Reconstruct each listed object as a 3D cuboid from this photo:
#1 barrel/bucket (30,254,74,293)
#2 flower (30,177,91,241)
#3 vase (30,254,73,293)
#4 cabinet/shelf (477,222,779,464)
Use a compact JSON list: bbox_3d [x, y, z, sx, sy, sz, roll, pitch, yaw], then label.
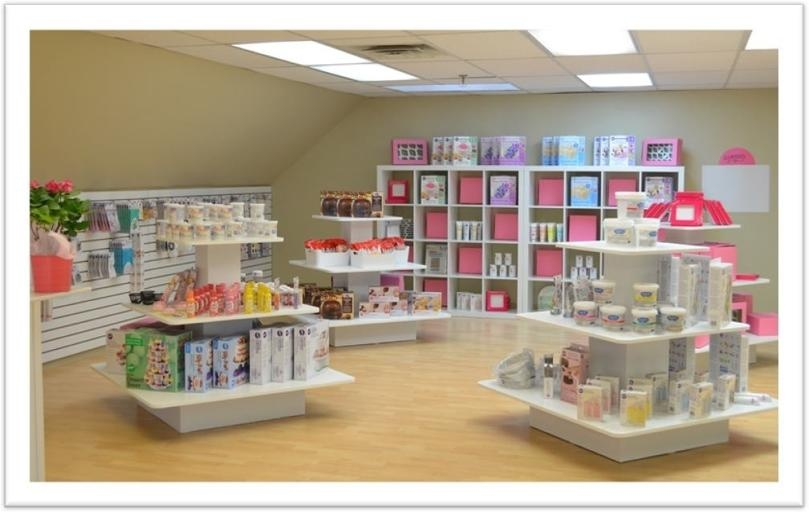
[{"bbox_3d":[-2.782,0.161,4.513,0.361,0.239,0.316,-5,-10,-19],"label":"barrel/bucket"},{"bbox_3d":[-2.788,-0.391,4.727,0.608,0.509,0.565,0,7,-15],"label":"flower"},{"bbox_3d":[-2.705,0.145,4.559,0.365,0.246,0.328,4,-6,-16],"label":"vase"},{"bbox_3d":[2.242,0.702,5.742,2.336,1.700,2.249,-1,3,-31],"label":"cabinet/shelf"}]
